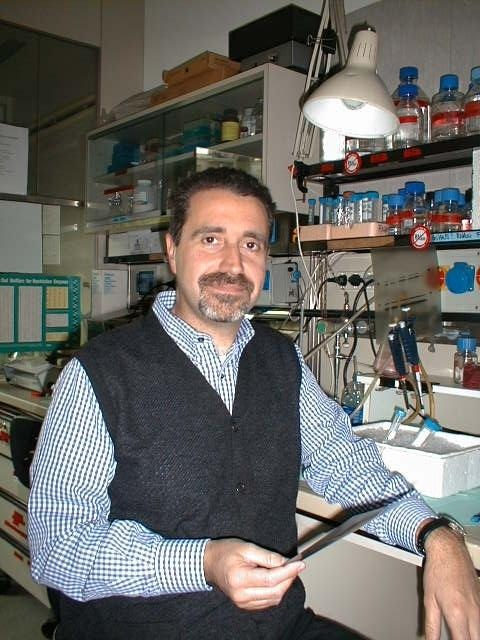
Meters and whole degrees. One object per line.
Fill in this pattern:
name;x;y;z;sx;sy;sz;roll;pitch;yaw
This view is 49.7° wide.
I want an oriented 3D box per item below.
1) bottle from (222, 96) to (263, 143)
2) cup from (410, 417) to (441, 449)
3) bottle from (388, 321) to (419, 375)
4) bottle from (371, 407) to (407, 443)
bottle;0.000;-0.839;2.221;0.220;0.224;0.139;0;0;6
cup;0.481;0.298;1.352;0.041;0.068;0.022;26;22;-16
bottle;0.461;0.082;1.484;0.089;0.151;0.039;4;14;40
bottle;0.425;0.300;1.475;0.038;0.115;0.038;26;10;-5
